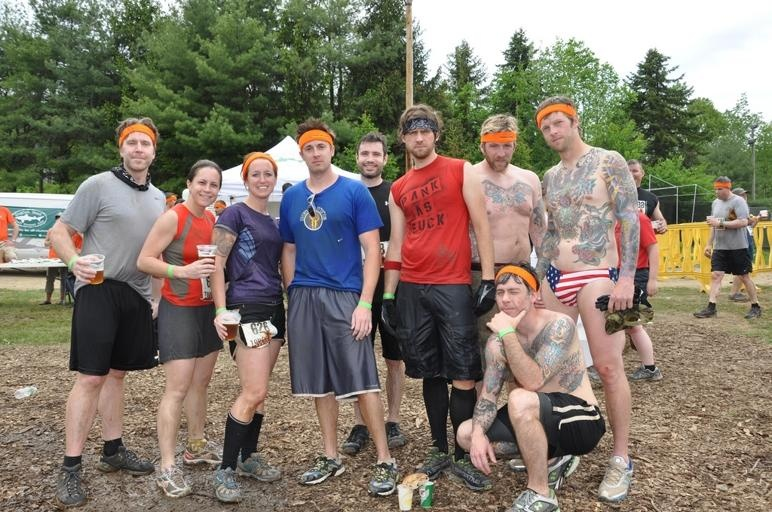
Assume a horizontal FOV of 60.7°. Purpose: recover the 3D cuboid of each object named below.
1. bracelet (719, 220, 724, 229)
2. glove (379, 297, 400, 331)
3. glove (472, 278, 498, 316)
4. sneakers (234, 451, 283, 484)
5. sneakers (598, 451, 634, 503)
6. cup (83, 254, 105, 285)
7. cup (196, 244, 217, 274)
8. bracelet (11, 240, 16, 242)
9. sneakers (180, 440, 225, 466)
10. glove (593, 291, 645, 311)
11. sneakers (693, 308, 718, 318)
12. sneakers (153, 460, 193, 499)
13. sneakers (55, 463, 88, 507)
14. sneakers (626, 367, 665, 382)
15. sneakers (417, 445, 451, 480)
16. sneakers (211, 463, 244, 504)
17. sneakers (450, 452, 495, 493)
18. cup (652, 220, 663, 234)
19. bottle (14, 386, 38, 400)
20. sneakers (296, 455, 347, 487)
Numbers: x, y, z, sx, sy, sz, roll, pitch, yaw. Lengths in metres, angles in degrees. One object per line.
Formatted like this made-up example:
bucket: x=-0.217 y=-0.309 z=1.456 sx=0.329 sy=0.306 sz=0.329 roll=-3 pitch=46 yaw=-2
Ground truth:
bracelet: x=6.790 y=-0.618 z=13.277 sx=0.093 sy=0.151 sz=0.171 roll=0 pitch=2 yaw=31
glove: x=0.074 y=0.704 z=7.836 sx=0.129 sy=0.350 sz=0.211 roll=-9 pitch=-2 yaw=43
glove: x=1.130 y=0.473 z=7.578 sx=0.151 sy=0.378 sz=0.278 roll=15 pitch=-5 yaw=-18
sneakers: x=-1.488 y=2.486 z=7.842 sx=0.573 sy=0.266 sz=0.253 roll=8 pitch=5 yaw=7
sneakers: x=2.596 y=2.463 z=7.411 sx=0.230 sy=0.264 sz=0.680 roll=4 pitch=14 yaw=30
cup: x=-3.239 y=0.156 z=7.363 sx=0.223 sy=0.340 sz=0.216 roll=-1 pitch=1 yaw=0
cup: x=-2.017 y=0.003 z=7.395 sx=0.235 sy=0.293 sz=0.249 roll=0 pitch=-1 yaw=0
bracelet: x=-9.801 y=-0.384 z=17.314 sx=0.100 sy=0.023 sz=0.089 roll=-1 pitch=-41 yaw=-23
sneakers: x=-2.204 y=2.382 z=8.054 sx=0.605 sy=0.286 sz=0.254 roll=3 pitch=4 yaw=-10
glove: x=2.692 y=0.502 z=7.326 sx=0.659 sy=0.235 sz=0.211 roll=-1 pitch=1 yaw=-14
sneakers: x=6.448 y=1.151 z=13.271 sx=0.474 sy=0.220 sz=0.182 roll=-2 pitch=0 yaw=-2
sneakers: x=-2.440 y=2.553 z=7.578 sx=0.520 sy=0.246 sz=0.238 roll=7 pitch=7 yaw=44
sneakers: x=-3.531 y=2.572 z=7.407 sx=0.298 sy=0.455 sz=0.196 roll=-2 pitch=2 yaw=-25
sneakers: x=3.896 y=1.766 z=9.858 sx=0.532 sy=0.229 sz=0.207 roll=0 pitch=-1 yaw=5
sneakers: x=0.582 y=2.405 z=7.654 sx=0.217 sy=0.268 sz=0.481 roll=-16 pitch=-4 yaw=37
sneakers: x=-1.784 y=2.572 z=7.423 sx=0.221 sy=0.205 sz=0.463 roll=4 pitch=-6 yaw=-31
sneakers: x=0.952 y=2.437 z=7.552 sx=0.561 sy=0.271 sz=0.225 roll=15 pitch=24 yaw=32
cup: x=4.526 y=-0.468 z=10.949 sx=0.202 sy=0.202 sz=0.145 roll=-6 pitch=35 yaw=9
bottle: x=-5.176 y=1.958 z=9.477 sx=0.297 sy=0.109 sz=0.460 roll=-2 pitch=2 yaw=-28
sneakers: x=-0.714 y=2.491 z=7.798 sx=0.619 sy=0.272 sz=0.237 roll=-5 pitch=7 yaw=-35
